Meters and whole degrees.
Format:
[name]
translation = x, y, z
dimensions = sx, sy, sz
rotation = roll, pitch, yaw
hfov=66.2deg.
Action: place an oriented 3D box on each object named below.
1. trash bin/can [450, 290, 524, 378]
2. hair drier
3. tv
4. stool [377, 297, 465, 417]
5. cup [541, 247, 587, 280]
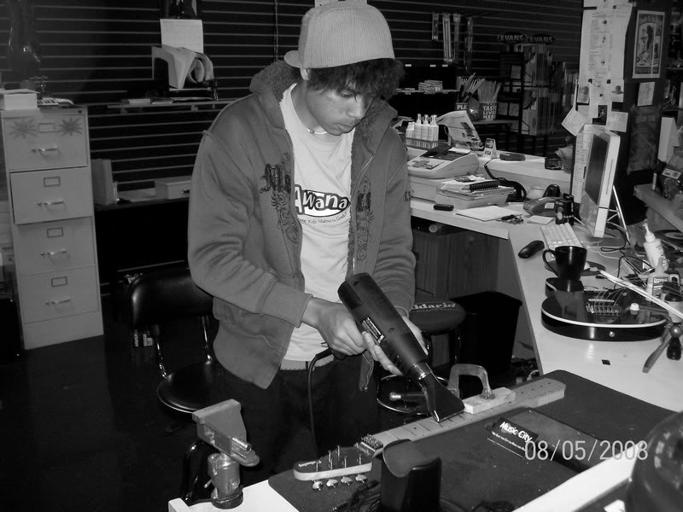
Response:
[trash bin/can]
translation = 1.071, 0.512, 3.846
dimensions = 0.478, 0.770, 0.635
rotation = 4, 7, 16
[hair drier]
translation = 0.112, 0.164, 1.325
dimensions = 0.141, 0.156, 0.517
rotation = -22, 64, -19
[tv]
translation = 1.395, -0.344, 2.733
dimensions = 0.200, 0.575, 0.599
rotation = 1, 19, 10
[stool]
translation = 0.166, 0.240, 1.216
dimensions = 0.145, 0.251, 0.241
rotation = -9, 15, -21
[cup]
translation = 0.874, 0.021, 2.041
dimensions = 0.185, 0.128, 0.139
rotation = 9, 19, 38
